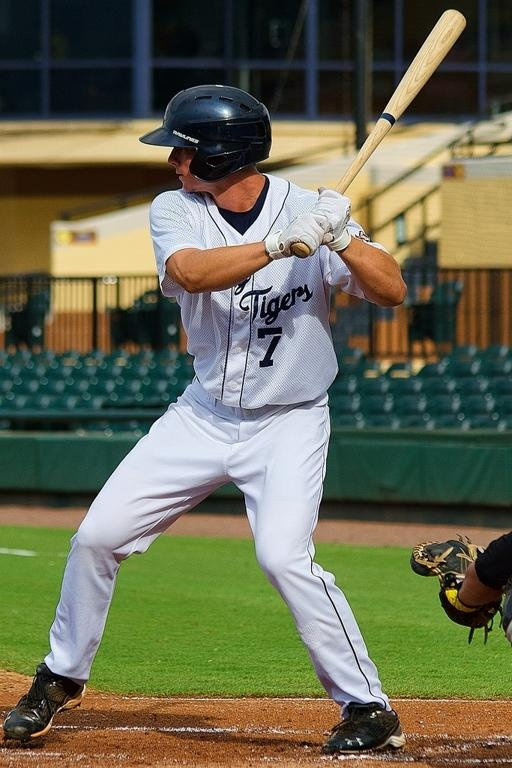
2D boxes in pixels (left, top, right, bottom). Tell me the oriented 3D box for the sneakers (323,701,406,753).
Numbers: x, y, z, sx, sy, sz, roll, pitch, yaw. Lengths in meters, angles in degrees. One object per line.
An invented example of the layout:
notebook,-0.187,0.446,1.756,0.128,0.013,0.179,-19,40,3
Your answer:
sneakers,0.293,0.916,3.285,0.274,0.132,0.098,1,-10,-42

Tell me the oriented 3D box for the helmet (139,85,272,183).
helmet,-0.133,-0.712,3.480,0.380,0.229,0.263,1,22,-6

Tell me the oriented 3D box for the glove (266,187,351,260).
glove,0.155,-0.420,3.203,0.147,0.088,0.221,-17,27,48

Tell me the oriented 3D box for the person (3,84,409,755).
person,-0.087,0.070,3.382,1.007,1.817,0.444,1,1,14

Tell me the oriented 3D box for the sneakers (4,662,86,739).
sneakers,-0.570,0.860,3.431,0.120,0.147,0.303,23,33,12
